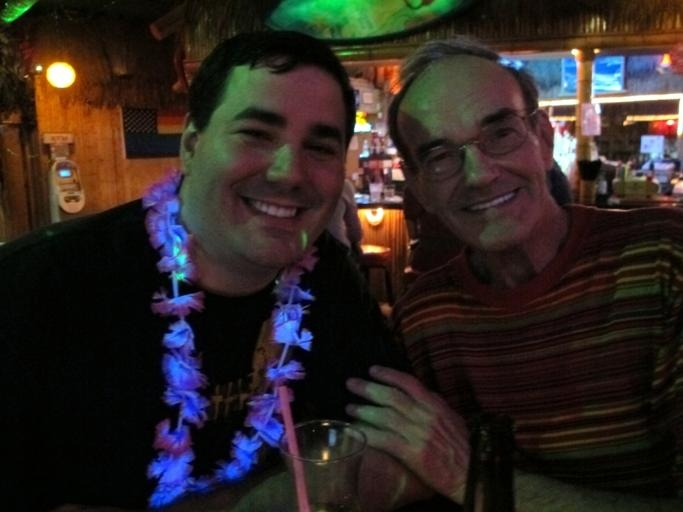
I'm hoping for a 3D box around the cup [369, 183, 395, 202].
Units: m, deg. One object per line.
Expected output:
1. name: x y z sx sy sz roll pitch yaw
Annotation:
1. cup: 0.415 -0.646 6.997 0.132 0.121 0.247 -2 1 45
